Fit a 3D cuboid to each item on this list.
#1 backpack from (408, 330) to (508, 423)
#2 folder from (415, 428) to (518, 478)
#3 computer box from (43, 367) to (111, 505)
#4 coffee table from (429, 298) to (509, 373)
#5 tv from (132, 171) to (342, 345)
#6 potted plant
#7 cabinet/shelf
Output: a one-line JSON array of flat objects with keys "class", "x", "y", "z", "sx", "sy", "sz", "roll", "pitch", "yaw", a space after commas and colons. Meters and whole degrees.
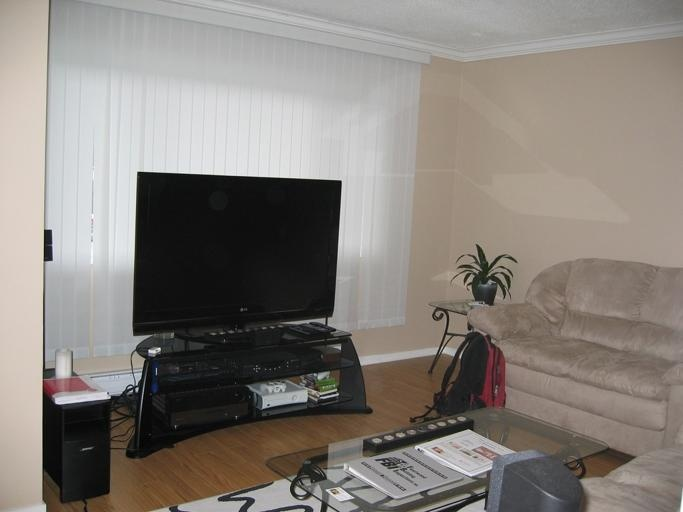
[{"class": "backpack", "x": 0.859, "y": 0.824, "z": 3.925, "sx": 0.577, "sy": 0.497, "sz": 0.344, "roll": 5, "pitch": 4, "yaw": 2}, {"class": "folder", "x": 0.605, "y": 0.948, "z": 2.654, "sx": 0.389, "sy": 0.048, "sz": 0.365, "roll": -5, "pitch": 7, "yaw": -42}, {"class": "computer box", "x": -1.462, "y": 0.987, "z": 3.032, "sx": 0.301, "sy": 0.553, "sz": 0.437, "roll": -1, "pitch": 10, "yaw": -32}, {"class": "coffee table", "x": 1.071, "y": 0.760, "z": 5.356, "sx": 0.561, "sy": 0.484, "sz": 0.531, "roll": -6, "pitch": -7, "yaw": -3}, {"class": "tv", "x": -0.716, "y": -0.033, "z": 3.955, "sx": 1.608, "sy": 1.046, "sz": 0.114, "roll": -3, "pitch": 9, "yaw": -38}, {"class": "potted plant", "x": 1.329, "y": 0.216, "z": 5.219, "sx": 0.574, "sy": 0.429, "sz": 0.598, "roll": 11, "pitch": 13, "yaw": 33}, {"class": "cabinet/shelf", "x": -0.573, "y": 0.839, "z": 3.776, "sx": 1.502, "sy": 0.504, "sz": 0.741, "roll": -7, "pitch": 3, "yaw": -9}]
